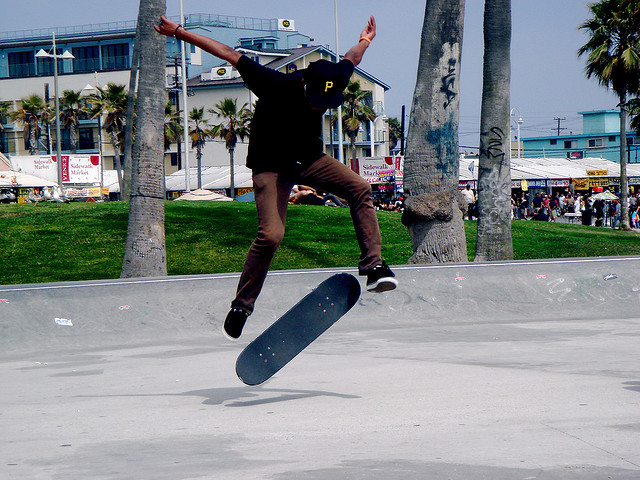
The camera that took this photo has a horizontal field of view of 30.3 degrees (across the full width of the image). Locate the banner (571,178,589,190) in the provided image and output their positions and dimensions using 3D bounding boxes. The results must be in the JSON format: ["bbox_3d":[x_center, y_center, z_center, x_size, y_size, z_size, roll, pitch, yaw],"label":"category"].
[{"bbox_3d":[13.331,-2.952,60.658,0.744,0.403,0.037,-5,10,-16],"label":"banner"}]

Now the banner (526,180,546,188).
[{"bbox_3d":[10.751,-2.819,58.531,1.106,0.382,0.291,-1,5,-22],"label":"banner"}]

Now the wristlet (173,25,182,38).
[{"bbox_3d":[-1.495,-2.228,12.473,0.092,0.124,0.174,0,4,-6],"label":"wristlet"}]

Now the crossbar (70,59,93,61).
[{"bbox_3d":[-15.630,-11.836,76.766,1.589,0.096,0.492,3,4,29],"label":"crossbar"}]

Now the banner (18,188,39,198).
[{"bbox_3d":[-13.164,-2.139,53.419,0.562,0.545,0.913,1,-2,-5],"label":"banner"}]

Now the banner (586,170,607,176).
[{"bbox_3d":[14.332,-3.539,61.487,1.579,0.298,0.554,-3,5,-44],"label":"banner"}]

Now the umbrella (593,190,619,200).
[{"bbox_3d":[10.557,-1.650,43.538,0.699,0.217,0.624,-2,6,-14],"label":"umbrella"}]

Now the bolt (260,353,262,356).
[{"bbox_3d":[-0.620,1.233,12.578,0.021,0.027,0.006,0,5,-15],"label":"bolt"}]

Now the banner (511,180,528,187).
[{"bbox_3d":[9.625,-2.801,57.853,0.443,0.348,0.294,4,5,40],"label":"banner"}]

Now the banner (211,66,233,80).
[{"bbox_3d":[-5.650,-10.014,69.884,0.902,0.810,1.664,-2,5,-34],"label":"banner"}]

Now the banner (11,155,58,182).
[{"bbox_3d":[-14.190,-3.586,58.863,2.386,1.240,0.321,1,8,-26],"label":"banner"}]
